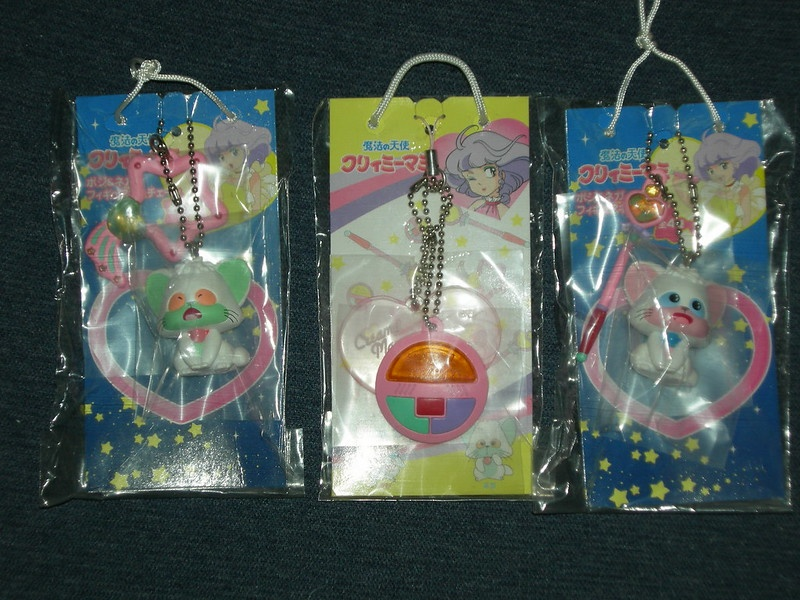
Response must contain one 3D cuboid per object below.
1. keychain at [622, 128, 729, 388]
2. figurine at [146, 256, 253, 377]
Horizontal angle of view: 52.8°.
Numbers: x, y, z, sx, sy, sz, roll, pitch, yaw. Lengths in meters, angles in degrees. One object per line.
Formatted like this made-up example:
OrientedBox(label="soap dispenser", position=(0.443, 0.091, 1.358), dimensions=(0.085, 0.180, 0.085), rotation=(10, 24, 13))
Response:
OrientedBox(label="keychain", position=(0.566, -0.088, 1.664), dimensions=(0.179, 0.116, 0.576), rotation=(12, 61, 6))
OrientedBox(label="figurine", position=(-0.405, 0.026, 1.586), dimensions=(0.214, 0.091, 0.235), rotation=(1, 82, 2))
